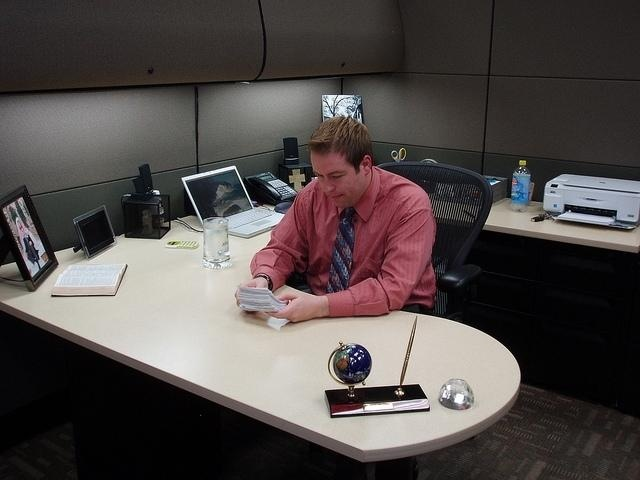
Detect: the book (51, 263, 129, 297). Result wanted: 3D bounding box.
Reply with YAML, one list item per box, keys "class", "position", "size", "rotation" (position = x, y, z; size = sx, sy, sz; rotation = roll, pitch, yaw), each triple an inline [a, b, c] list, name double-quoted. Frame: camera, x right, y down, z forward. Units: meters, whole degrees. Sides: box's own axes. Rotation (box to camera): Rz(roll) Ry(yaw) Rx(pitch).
- class: "book"
  position: [-0.925, 0.145, 1.796]
  size: [0.232, 0.036, 0.266]
  rotation: [-1, 23, -18]

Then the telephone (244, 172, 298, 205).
- class: "telephone"
  position: [-0.321, -0.327, 2.846]
  size: [0.331, 0.167, 0.252]
  rotation: [18, 26, 38]

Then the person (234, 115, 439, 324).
- class: "person"
  position: [0.068, 0.012, 1.815]
  size: [0.714, 0.970, 0.889]
  rotation: [3, 15, 5]

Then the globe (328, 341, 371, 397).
- class: "globe"
  position: [0.079, 0.351, 1.189]
  size: [0.109, 0.177, 0.107]
  rotation: [-3, 15, -3]

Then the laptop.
- class: "laptop"
  position: [-0.461, -0.215, 2.459]
  size: [0.449, 0.299, 0.429]
  rotation: [16, 31, 37]

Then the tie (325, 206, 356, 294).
- class: "tie"
  position: [0.109, 0.005, 1.829]
  size: [0.112, 0.037, 0.536]
  rotation: [-11, 43, 17]
